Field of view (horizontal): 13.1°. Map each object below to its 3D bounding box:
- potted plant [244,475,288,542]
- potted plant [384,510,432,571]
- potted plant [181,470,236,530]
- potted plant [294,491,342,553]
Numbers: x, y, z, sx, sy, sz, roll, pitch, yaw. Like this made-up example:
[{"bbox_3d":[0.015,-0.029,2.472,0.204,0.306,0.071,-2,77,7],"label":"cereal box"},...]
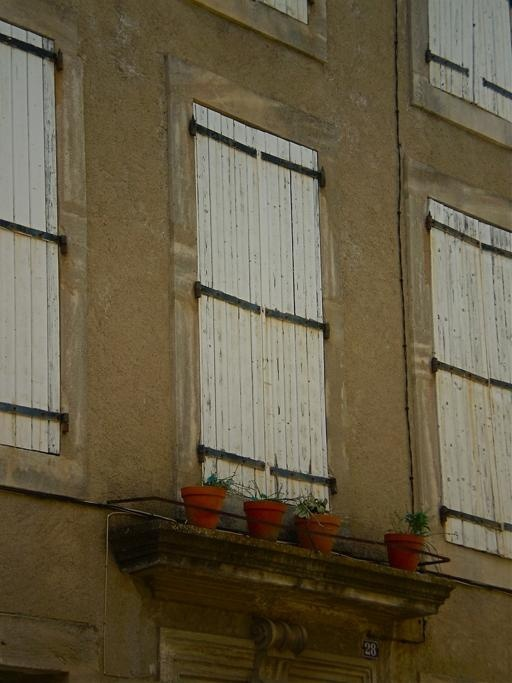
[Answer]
[{"bbox_3d":[0.049,0.875,11.204,0.179,0.284,0.189,12,-16,-42],"label":"potted plant"},{"bbox_3d":[0.818,1.084,11.919,0.156,0.342,0.172,5,-20,-3],"label":"potted plant"},{"bbox_3d":[-0.250,0.778,10.963,0.190,0.241,0.247,2,15,1],"label":"potted plant"},{"bbox_3d":[0.322,0.945,11.417,0.173,0.278,0.187,9,-9,-24],"label":"potted plant"}]
